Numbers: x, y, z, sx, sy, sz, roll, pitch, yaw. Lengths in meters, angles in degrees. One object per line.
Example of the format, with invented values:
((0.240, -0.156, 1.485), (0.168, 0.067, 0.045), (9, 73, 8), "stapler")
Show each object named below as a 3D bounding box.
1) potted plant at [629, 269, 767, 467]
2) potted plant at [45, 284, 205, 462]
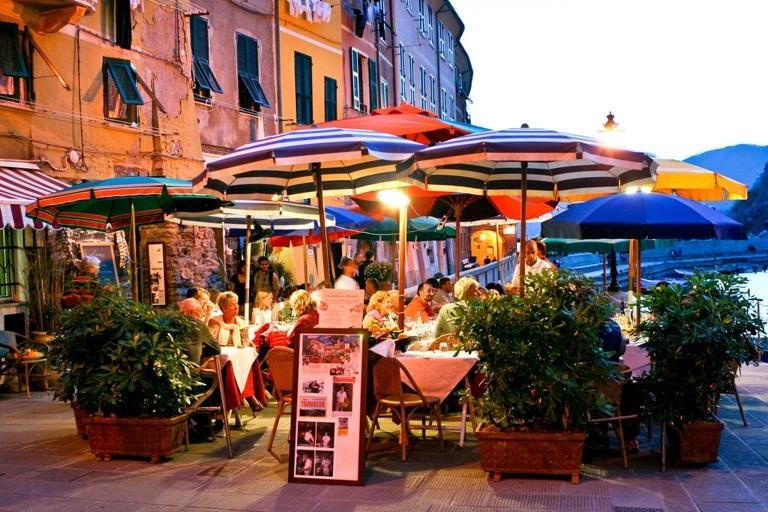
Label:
((3.425, 1.284, 7.307), (1.658, 2.239, 1.744), (3, -10, 3), "potted plant")
((-2.874, 1.359, 7.528), (1.559, 1.829, 0.879), (-1, 3, -10), "potted plant")
